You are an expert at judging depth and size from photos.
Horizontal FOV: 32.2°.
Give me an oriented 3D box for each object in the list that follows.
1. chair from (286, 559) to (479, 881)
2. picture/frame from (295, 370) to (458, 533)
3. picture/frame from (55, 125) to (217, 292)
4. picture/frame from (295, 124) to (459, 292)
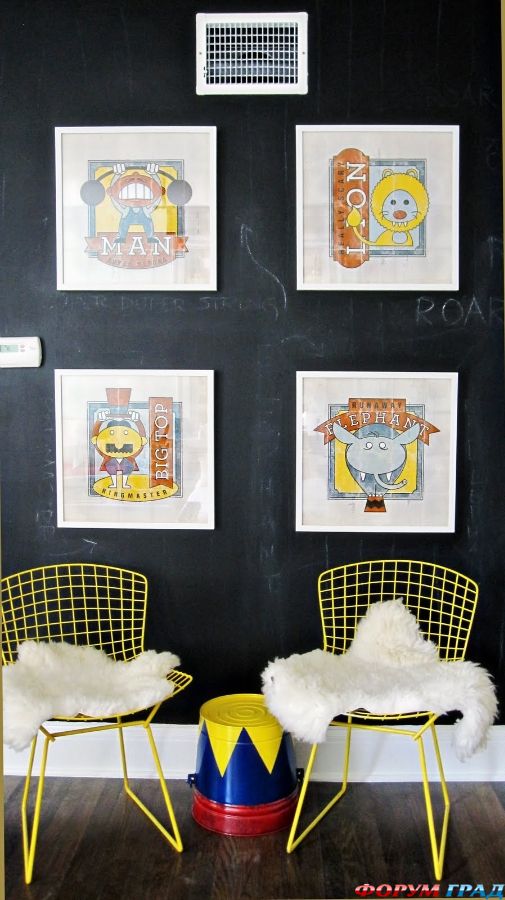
[{"bbox_3d":[0.410,0.810,2.708,0.582,0.997,0.610,-2,-9,37],"label":"chair"},{"bbox_3d":[0.403,-0.003,2.968,0.398,0.542,0.019,0,2,2],"label":"picture/frame"},{"bbox_3d":[-0.378,-0.834,2.942,0.406,0.515,0.020,0,4,2],"label":"picture/frame"},{"bbox_3d":[0.419,-0.835,2.934,0.403,0.510,0.032,0,4,0],"label":"picture/frame"}]
